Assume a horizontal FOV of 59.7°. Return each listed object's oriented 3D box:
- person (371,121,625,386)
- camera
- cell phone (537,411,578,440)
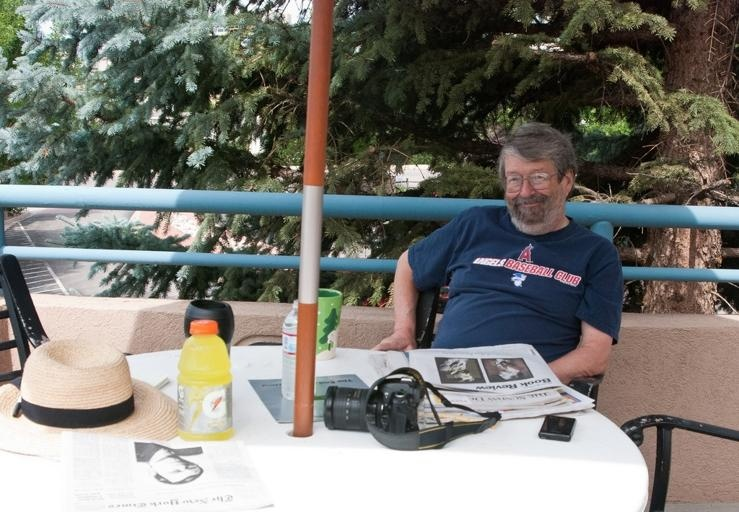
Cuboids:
[{"bbox_3d":[0.599,-0.021,2.993,0.812,1.048,1.291,-22,22,-38],"label":"person"},{"bbox_3d":[0.010,0.435,1.798,0.267,0.105,0.221,2,33,3],"label":"camera"},{"bbox_3d":[0.548,0.499,1.881,0.076,0.014,0.068,4,19,22],"label":"cell phone"}]
